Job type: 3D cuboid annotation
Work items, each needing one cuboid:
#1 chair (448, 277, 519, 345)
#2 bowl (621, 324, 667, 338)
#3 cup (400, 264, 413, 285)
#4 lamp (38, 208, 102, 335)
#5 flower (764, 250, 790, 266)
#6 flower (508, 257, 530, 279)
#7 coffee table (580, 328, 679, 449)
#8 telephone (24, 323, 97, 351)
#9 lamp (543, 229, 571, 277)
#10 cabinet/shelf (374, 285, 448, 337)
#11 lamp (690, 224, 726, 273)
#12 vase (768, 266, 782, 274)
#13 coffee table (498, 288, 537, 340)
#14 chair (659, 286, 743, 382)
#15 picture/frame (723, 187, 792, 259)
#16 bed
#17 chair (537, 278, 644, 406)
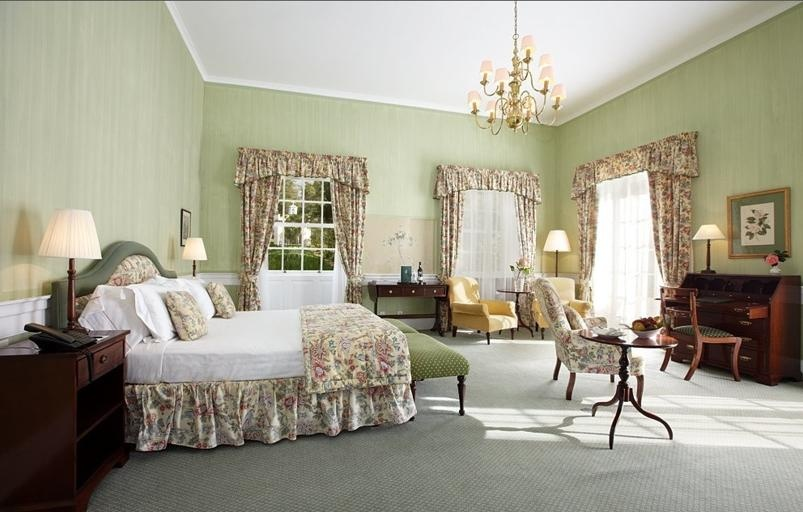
[{"bbox_3d":[1.429,0.948,9.373,1.154,1.086,1.061,2,2,31],"label":"chair"},{"bbox_3d":[2.682,0.832,5.793,0.355,0.093,0.343,-2,-2,0],"label":"bowl"},{"bbox_3d":[0.095,0.330,9.627,0.279,0.399,0.300,0,-3,0],"label":"cup"},{"bbox_3d":[-3.232,0.128,5.093,0.493,1.180,0.389,-1,2,-34],"label":"lamp"},{"bbox_3d":[5.155,0.025,7.148,0.250,0.232,0.301,1,1,41],"label":"flower"},{"bbox_3d":[2.327,0.228,10.269,0.398,0.397,0.370,-4,5,-15],"label":"flower"},{"bbox_3d":[2.433,1.405,5.726,0.973,0.981,0.995,-1,2,45],"label":"coffee table"},{"bbox_3d":[-3.080,0.751,4.707,0.364,0.151,0.361,-1,0,-16],"label":"telephone"},{"bbox_3d":[3.107,-0.087,10.392,0.519,0.979,0.897,1,1,16],"label":"lamp"},{"bbox_3d":[0.121,0.959,9.640,1.411,0.913,0.662,2,0,-16],"label":"cabinet/shelf"},{"bbox_3d":[4.626,-0.127,7.837,0.381,0.720,0.530,1,2,31],"label":"lamp"},{"bbox_3d":[5.144,0.186,7.163,0.131,0.124,0.130,-2,5,0],"label":"vase"},{"bbox_3d":[2.284,1.096,10.238,0.818,0.842,0.796,-1,1,-3],"label":"coffee table"},{"bbox_3d":[4.283,1.078,7.510,0.953,1.259,0.902,2,0,-21],"label":"chair"},{"bbox_3d":[5.099,-0.477,7.418,0.082,1.232,1.025,5,-6,-34],"label":"picture/frame"},{"bbox_3d":[-1.674,0.817,6.067,2.984,1.807,2.256,-1,1,-19],"label":"bed"},{"bbox_3d":[2.246,1.007,6.881,1.598,1.712,1.305,-1,1,-5],"label":"chair"}]
